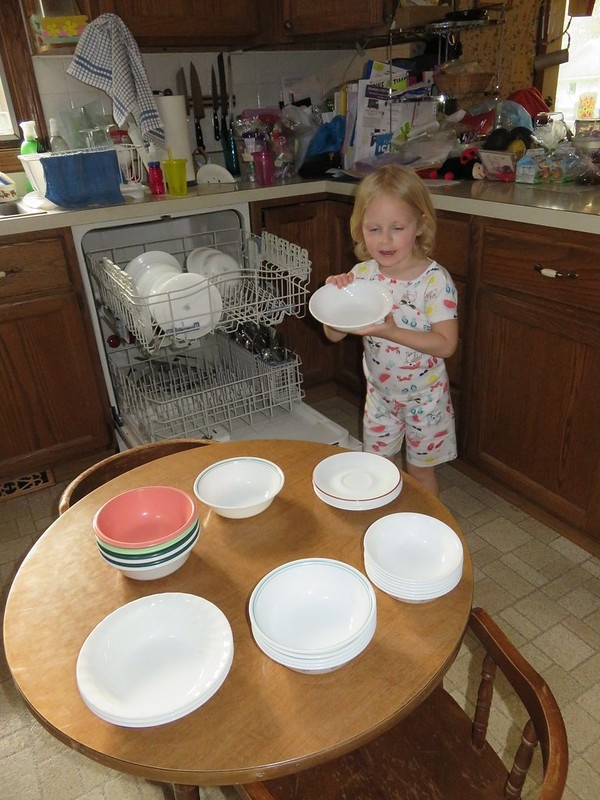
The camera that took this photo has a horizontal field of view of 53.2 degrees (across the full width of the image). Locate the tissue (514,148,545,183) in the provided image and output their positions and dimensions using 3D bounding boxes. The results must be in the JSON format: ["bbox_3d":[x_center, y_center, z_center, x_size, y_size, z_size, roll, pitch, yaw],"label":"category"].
[{"bbox_3d":[0.725,-0.738,1.891,0.049,0.085,0.093,13,38,23],"label":"tissue"}]

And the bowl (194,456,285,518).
[{"bbox_3d":[-0.094,0.132,0.953,0.102,0.023,0.093,-2,36,1],"label":"bowl"}]

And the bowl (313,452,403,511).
[{"bbox_3d":[0.093,0.126,0.941,0.104,0.021,0.096,-3,32,2],"label":"bowl"}]

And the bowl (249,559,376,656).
[{"bbox_3d":[0.015,0.228,0.683,0.099,0.034,0.094,-2,35,1],"label":"bowl"}]

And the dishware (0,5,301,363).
[{"bbox_3d":[-0.545,-0.735,2.069,0.663,0.959,0.979,-16,50,-13],"label":"dishware"}]

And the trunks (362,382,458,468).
[{"bbox_3d":[0.298,0.052,1.699,0.268,0.227,0.145,-1,12,23],"label":"trunks"}]

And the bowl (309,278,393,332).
[{"bbox_3d":[0.118,-0.204,1.300,0.154,0.039,0.144,-5,52,6],"label":"bowl"}]

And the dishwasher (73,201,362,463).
[{"bbox_3d":[-0.341,-0.209,1.992,0.683,0.519,1.139,-12,41,-17],"label":"dishwasher"}]

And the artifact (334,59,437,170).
[{"bbox_3d":[0.353,-1.120,2.344,0.374,0.370,0.192,-2,26,6],"label":"artifact"}]

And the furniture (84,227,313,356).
[{"bbox_3d":[-0.284,-0.309,1.695,0.526,0.182,0.561,-19,25,-18],"label":"furniture"}]

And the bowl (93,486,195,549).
[{"bbox_3d":[-0.230,0.168,0.851,0.099,0.030,0.097,0,29,0],"label":"bowl"}]

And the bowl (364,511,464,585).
[{"bbox_3d":[0.144,0.185,0.779,0.090,0.027,0.085,-1,34,1],"label":"bowl"}]
